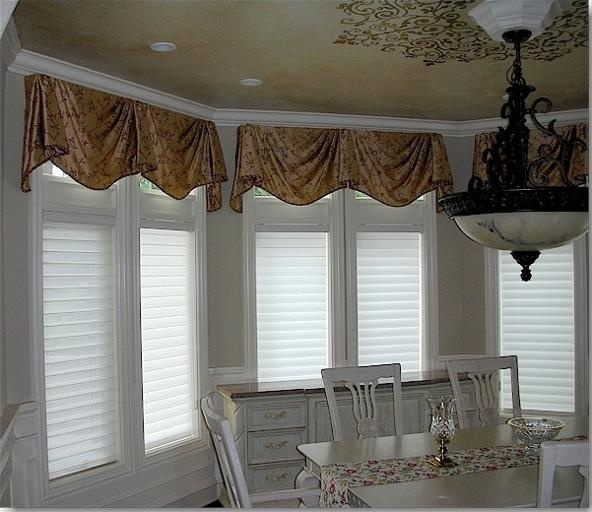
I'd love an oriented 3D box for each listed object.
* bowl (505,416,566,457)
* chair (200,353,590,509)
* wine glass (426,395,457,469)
[{"bbox_3d":[1.083,0.820,2.475,0.234,0.116,0.235,-2,-7,0],"label":"bowl"},{"bbox_3d":[0.434,0.975,3.026,1.344,0.650,0.346,-5,18,-9],"label":"chair"},{"bbox_3d":[0.662,0.778,2.480,0.125,0.224,0.311,-4,1,14],"label":"wine glass"}]
